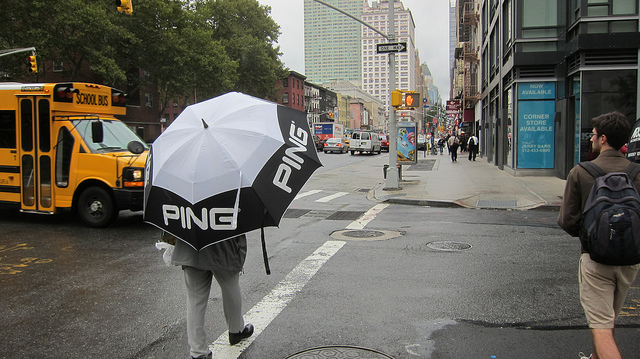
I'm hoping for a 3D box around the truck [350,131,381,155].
[{"bbox_3d":[4.580,-3.575,50.711,2.017,2.344,3.798,9,18,32],"label":"truck"}]

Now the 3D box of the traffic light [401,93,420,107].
[{"bbox_3d":[3.727,-3.296,21.089,0.748,0.609,0.570,6,17,24],"label":"traffic light"}]

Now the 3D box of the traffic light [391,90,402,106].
[{"bbox_3d":[2.882,-3.100,19.441,0.356,0.536,0.311,1,15,7],"label":"traffic light"}]

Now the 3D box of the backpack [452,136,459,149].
[{"bbox_3d":[9.942,-2.701,37.804,0.234,0.973,0.771,7,17,28],"label":"backpack"}]

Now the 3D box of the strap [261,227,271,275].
[{"bbox_3d":[-0.836,1.137,7.840,0.102,0.890,0.129,-5,7,6],"label":"strap"}]

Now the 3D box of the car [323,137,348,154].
[{"bbox_3d":[1.612,-3.470,54.026,2.228,1.694,2.429,0,15,5],"label":"car"}]

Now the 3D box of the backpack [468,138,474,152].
[{"bbox_3d":[11.298,-2.572,38.161,0.307,1.097,0.455,3,16,15],"label":"backpack"}]

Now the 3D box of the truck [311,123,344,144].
[{"bbox_3d":[1.073,-6.841,74.565,2.686,2.614,4.986,3,11,20],"label":"truck"}]

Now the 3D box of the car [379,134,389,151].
[{"bbox_3d":[7.433,-4.470,59.584,1.233,1.156,2.200,-2,-2,9],"label":"car"}]

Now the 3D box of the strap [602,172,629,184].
[{"bbox_3d":[4.210,-0.057,7.325,0.218,0.196,0.207,2,5,16],"label":"strap"}]

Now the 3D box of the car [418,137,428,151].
[{"bbox_3d":[12.439,-4.485,62.558,1.831,1.294,3.142,0,10,11],"label":"car"}]

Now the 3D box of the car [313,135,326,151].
[{"bbox_3d":[-0.181,-4.176,58.084,1.442,1.016,3.134,0,13,7],"label":"car"}]
